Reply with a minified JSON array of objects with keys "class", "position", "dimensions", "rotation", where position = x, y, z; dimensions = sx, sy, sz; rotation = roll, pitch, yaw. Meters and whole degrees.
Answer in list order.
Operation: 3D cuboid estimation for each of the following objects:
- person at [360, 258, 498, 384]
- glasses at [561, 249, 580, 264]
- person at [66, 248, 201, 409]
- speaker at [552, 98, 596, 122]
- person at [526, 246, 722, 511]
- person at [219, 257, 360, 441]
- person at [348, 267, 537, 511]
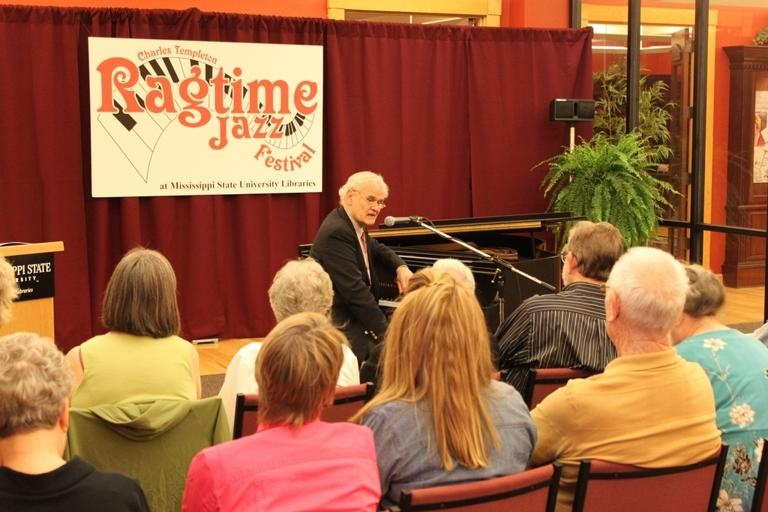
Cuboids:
[{"class":"person","position":[0.207,0.350,3.822],"dimensions":[0.618,1.151,0.615],"rotation":[0,2,4]},{"class":"glasses","position":[0.985,-0.012,3.639],"dimensions":[0.086,0.030,0.085],"rotation":[24,10,42]},{"class":"person","position":[-1.195,0.588,3.295],"dimensions":[0.534,1.161,0.534],"rotation":[3,0,-22]},{"class":"speaker","position":[2.127,-1.627,7.639],"dimensions":[0.551,0.267,0.227],"rotation":[-1,8,-13]},{"class":"person","position":[0.985,0.497,2.733],"dimensions":[0.703,1.005,0.412],"rotation":[-3,8,-26]},{"class":"person","position":[-0.389,0.445,3.468],"dimensions":[0.697,1.084,0.776],"rotation":[1,18,-9]},{"class":"person","position":[0.219,0.449,2.730],"dimensions":[0.652,1.178,0.764],"rotation":[-3,26,-5]}]
